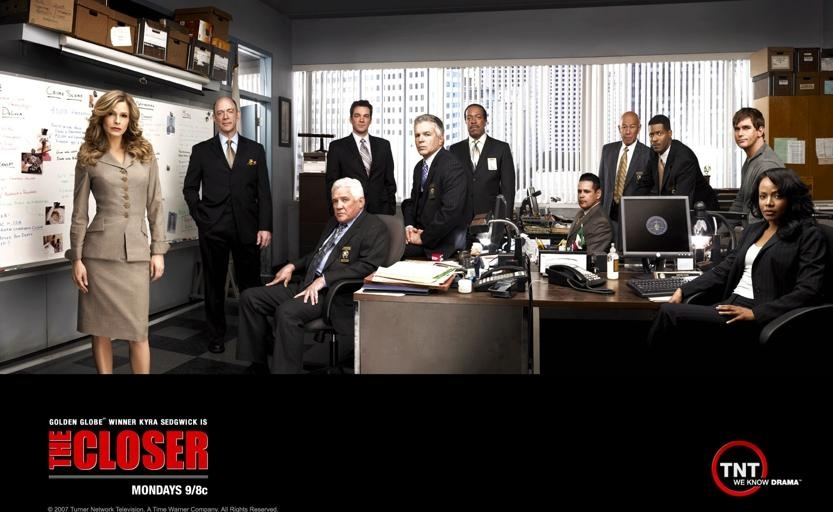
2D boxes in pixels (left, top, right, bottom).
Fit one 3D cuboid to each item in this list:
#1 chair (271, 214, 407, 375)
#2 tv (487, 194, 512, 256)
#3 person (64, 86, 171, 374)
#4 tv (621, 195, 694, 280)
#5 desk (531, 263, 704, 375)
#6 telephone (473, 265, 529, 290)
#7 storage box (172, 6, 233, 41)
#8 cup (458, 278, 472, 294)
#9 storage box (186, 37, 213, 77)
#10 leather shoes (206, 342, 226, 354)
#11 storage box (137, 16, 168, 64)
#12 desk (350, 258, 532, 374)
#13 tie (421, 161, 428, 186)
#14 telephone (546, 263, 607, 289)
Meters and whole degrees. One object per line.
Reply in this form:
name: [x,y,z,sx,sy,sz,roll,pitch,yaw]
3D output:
chair: [-0.493,0.188,3.871,0.970,1.058,0.762,6,-6,-31]
tv: [0.521,-0.181,3.691,0.139,0.406,0.400,3,-7,12]
person: [-1.630,-0.200,3.253,0.480,1.348,0.212,-6,10,-32]
tv: [1.452,-0.113,3.592,0.450,0.495,0.208,0,-8,5]
desk: [1.292,0.543,4.357,0.734,0.311,1.170,0,7,9]
telephone: [0.431,0.111,3.062,0.186,0.066,0.142,-1,10,11]
storage box: [-1.919,-2.050,5.382,0.372,0.237,0.385,2,6,17]
cup: [0.251,0.156,3.057,0.067,0.057,0.066,-1,0,0]
storage box: [-1.837,-1.694,5.104,0.060,0.224,0.232,9,3,10]
leather shoes: [-1.442,0.659,4.323,0.122,0.059,0.126,-6,11,-26]
storage box: [-2.001,-1.639,4.548,0.074,0.277,0.309,1,9,10]
desk: [0.164,0.251,3.174,0.610,0.448,0.628,-1,3,11]
tie: [0.064,-0.580,4.188,0.029,0.122,0.087,3,-7,-1]
telephone: [0.852,0.105,3.220,0.315,0.112,0.219,2,10,14]
